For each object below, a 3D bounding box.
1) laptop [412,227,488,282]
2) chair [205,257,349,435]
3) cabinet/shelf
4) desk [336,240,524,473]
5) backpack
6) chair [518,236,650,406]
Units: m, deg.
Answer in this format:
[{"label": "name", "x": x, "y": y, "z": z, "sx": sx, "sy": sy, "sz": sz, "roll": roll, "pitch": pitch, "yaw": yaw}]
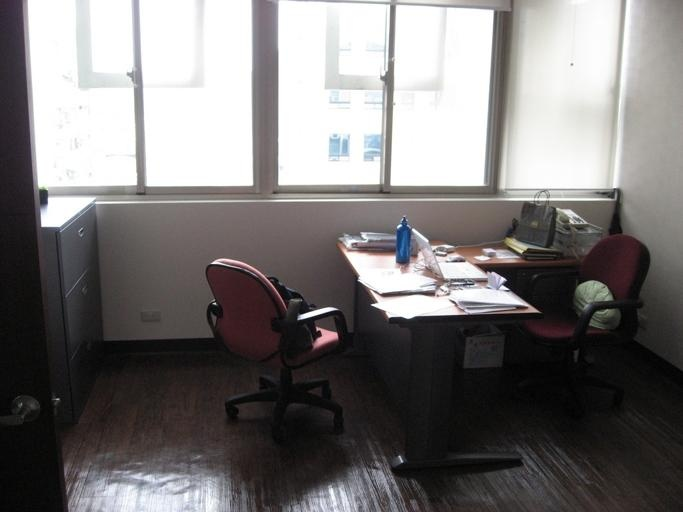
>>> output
[{"label": "laptop", "x": 0.696, "y": 0.075, "z": 3.515, "sx": 0.330, "sy": 0.235, "sz": 0.468, "roll": -2, "pitch": 12, "yaw": -8}, {"label": "chair", "x": -0.376, "y": 0.514, "z": 3.435, "sx": 0.858, "sy": 1.118, "sz": 0.778, "roll": -10, "pitch": 16, "yaw": -43}, {"label": "cabinet/shelf", "x": -1.753, "y": 0.300, "z": 3.584, "sx": 0.262, "sy": 1.245, "sz": 0.987, "roll": -7, "pitch": 21, "yaw": -17}, {"label": "desk", "x": 0.490, "y": 0.580, "z": 3.389, "sx": 0.736, "sy": 0.938, "sz": 1.210, "roll": -5, "pitch": 21, "yaw": -11}, {"label": "backpack", "x": -0.288, "y": 0.344, "z": 3.290, "sx": 0.286, "sy": 0.309, "sz": 0.303, "roll": -22, "pitch": -5, "yaw": 26}, {"label": "chair", "x": 1.618, "y": 0.438, "z": 3.687, "sx": 0.744, "sy": 1.172, "sz": 0.830, "roll": -10, "pitch": 18, "yaw": -33}]
